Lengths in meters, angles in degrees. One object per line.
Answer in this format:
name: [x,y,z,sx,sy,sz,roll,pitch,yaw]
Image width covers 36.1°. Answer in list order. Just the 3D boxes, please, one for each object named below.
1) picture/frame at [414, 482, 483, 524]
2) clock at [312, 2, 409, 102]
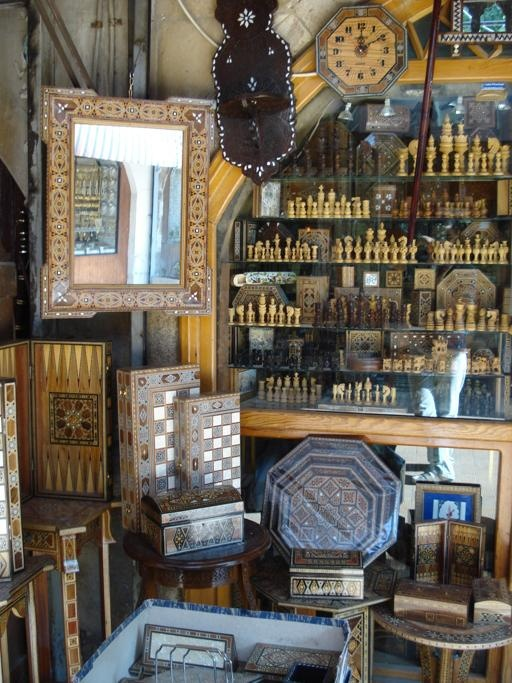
picture/frame: [0.775,0.642,3.141,0.156,0.168,0.017,2,0,17]
clock: [0.392,-1.116,2.959,0.324,0.339,0.026,0,11,9]
